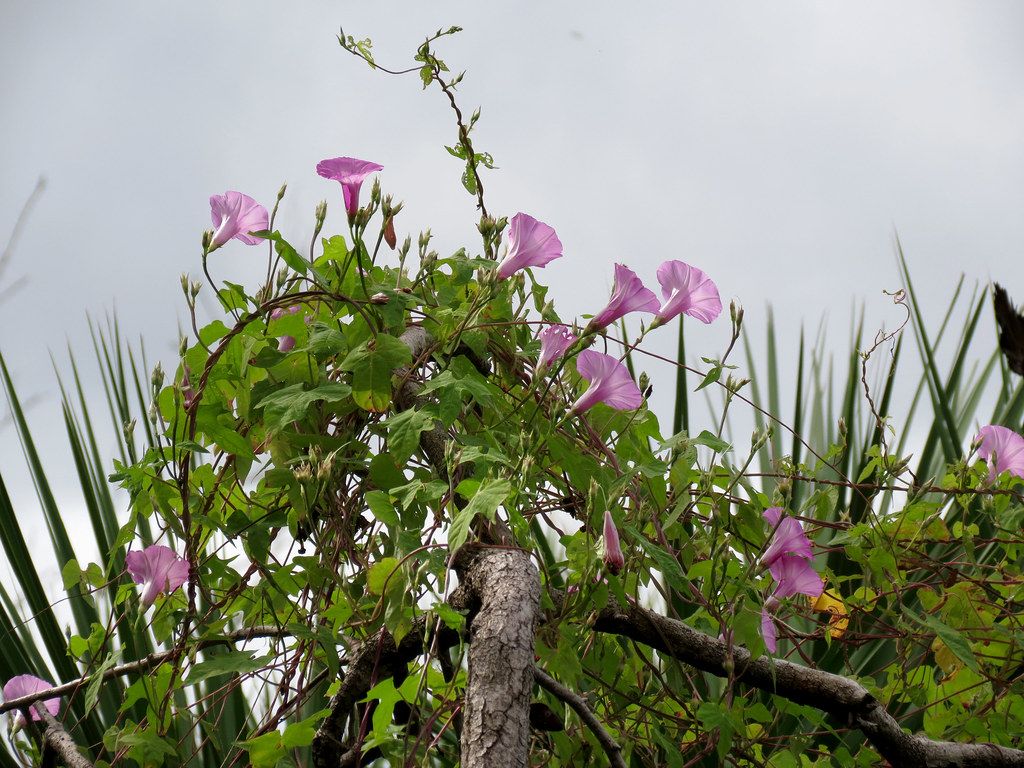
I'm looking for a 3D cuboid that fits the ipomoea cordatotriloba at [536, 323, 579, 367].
[{"bbox_3d":[0.093,-0.102,3.064,0.061,0.113,0.037,13,14,-15],"label":"ipomoea cordatotriloba"}]

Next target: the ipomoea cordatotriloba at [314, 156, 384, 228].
[{"bbox_3d":[-0.363,-0.428,3.114,0.104,0.139,0.128,-3,-8,14],"label":"ipomoea cordatotriloba"}]

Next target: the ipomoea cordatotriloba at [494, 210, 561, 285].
[{"bbox_3d":[0.035,-0.290,3.038,0.141,0.178,0.251,-3,-19,0],"label":"ipomoea cordatotriloba"}]

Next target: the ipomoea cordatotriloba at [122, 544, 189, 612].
[{"bbox_3d":[-0.783,0.428,3.068,0.162,0.142,0.139,-4,-19,-1],"label":"ipomoea cordatotriloba"}]

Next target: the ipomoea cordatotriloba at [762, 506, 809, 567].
[{"bbox_3d":[0.599,0.338,3.041,0.097,0.055,0.124,37,-55,-15],"label":"ipomoea cordatotriloba"}]

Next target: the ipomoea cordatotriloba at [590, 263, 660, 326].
[{"bbox_3d":[0.258,-0.190,3.037,0.173,0.146,0.061,5,-18,-24],"label":"ipomoea cordatotriloba"}]

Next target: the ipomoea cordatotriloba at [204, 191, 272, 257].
[{"bbox_3d":[-0.609,-0.369,3.080,0.133,0.174,0.216,0,-20,-12],"label":"ipomoea cordatotriloba"}]
